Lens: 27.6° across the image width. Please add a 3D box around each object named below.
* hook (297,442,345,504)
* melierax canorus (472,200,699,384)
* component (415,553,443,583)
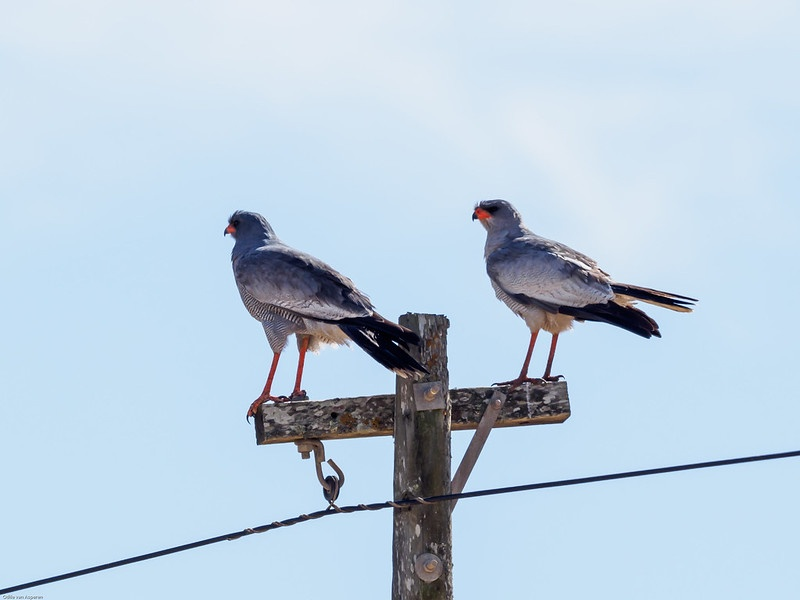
[{"bbox_3d":[-0.626,1.414,13.337,0.272,0.510,0.408,-23,-40,21],"label":"hook"},{"bbox_3d":[1.753,-0.076,16.013,2.266,1.934,0.829,0,-5,25],"label":"melierax canorus"},{"bbox_3d":[0.239,2.098,12.764,0.193,0.219,0.140,-13,-3,-14],"label":"component"}]
